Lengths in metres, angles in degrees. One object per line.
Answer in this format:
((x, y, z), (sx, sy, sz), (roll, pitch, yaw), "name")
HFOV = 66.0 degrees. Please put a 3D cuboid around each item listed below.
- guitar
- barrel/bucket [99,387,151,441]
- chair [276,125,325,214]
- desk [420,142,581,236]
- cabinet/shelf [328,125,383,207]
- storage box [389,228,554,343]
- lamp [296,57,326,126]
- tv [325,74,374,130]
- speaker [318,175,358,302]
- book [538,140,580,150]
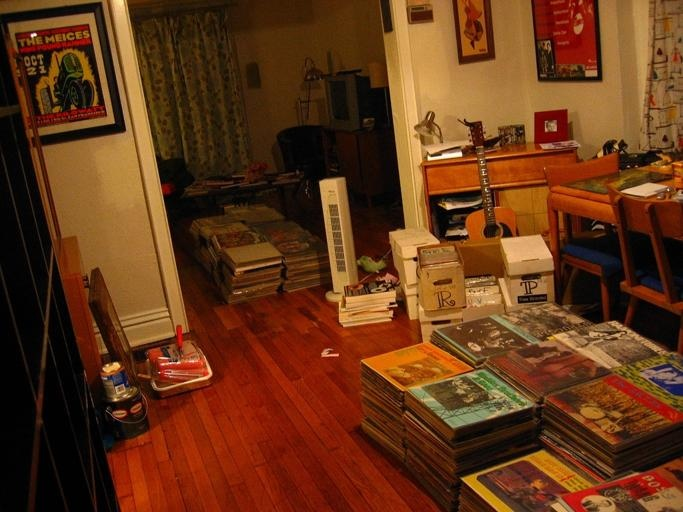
((1.301, -0.662, 4.652), (0.420, 1.055, 0.392), (-16, 17, -23), "guitar")
((-1.232, 0.930, 3.174), (0.266, 0.272, 0.288), (-2, 20, 1), "barrel/bucket")
((-0.602, -1.520, 8.710), (1.057, 1.313, 1.202), (-9, 21, -18), "chair")
((1.417, -0.593, 4.597), (0.780, 0.693, 0.304), (-11, 25, 3), "desk")
((0.221, -1.189, 6.941), (0.466, 1.055, 1.197), (-11, 29, -17), "cabinet/shelf")
((0.894, 0.181, 3.853), (0.862, 0.522, 0.848), (-11, 21, -3), "storage box")
((-0.530, -2.932, 9.352), (0.551, 1.201, 0.809), (-13, 16, -13), "lamp")
((0.135, -2.187, 7.451), (0.489, 0.839, 0.892), (-9, 13, -17), "tv")
((-0.053, -0.121, 4.471), (0.320, 1.054, 0.262), (-10, 16, -4), "speaker")
((1.952, -0.976, 4.708), (0.316, 0.061, 0.227), (-7, 16, 7), "book")
